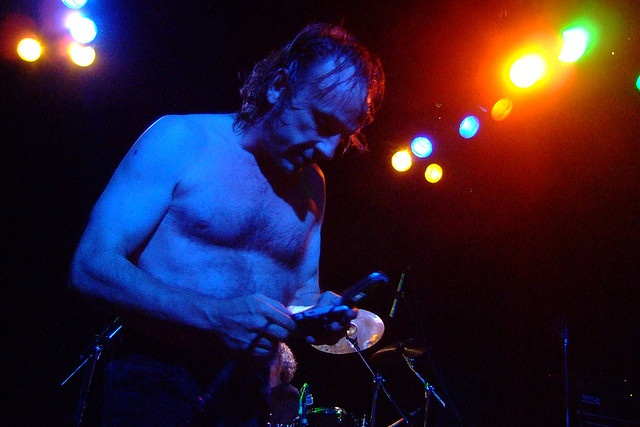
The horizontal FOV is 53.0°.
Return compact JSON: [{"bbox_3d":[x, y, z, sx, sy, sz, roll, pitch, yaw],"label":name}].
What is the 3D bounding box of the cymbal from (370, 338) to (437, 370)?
[{"bbox_3d":[1.239,1.957,9.272,0.763,0.605,0.913,-4,-4,28],"label":"cymbal"}]
